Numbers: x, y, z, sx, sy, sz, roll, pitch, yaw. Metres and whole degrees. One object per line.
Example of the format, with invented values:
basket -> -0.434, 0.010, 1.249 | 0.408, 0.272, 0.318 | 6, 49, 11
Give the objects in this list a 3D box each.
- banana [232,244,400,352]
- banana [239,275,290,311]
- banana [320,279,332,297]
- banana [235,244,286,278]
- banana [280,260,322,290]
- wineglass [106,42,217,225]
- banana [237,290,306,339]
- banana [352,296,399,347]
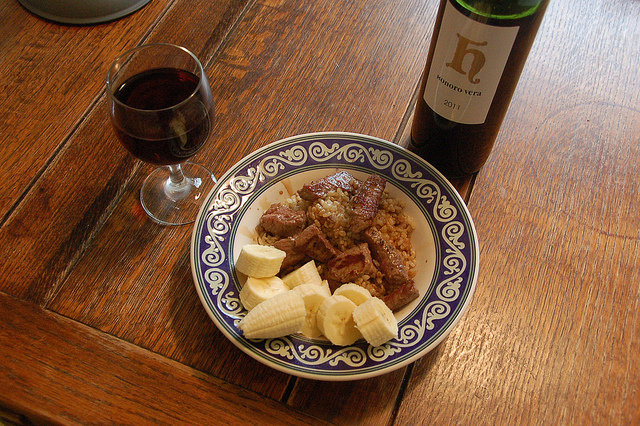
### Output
banana -> -0.012, 0.225, 1.346 | 0.357, 0.112, 0.250 | 24, 49, -5
banana -> -0.134, 0.205, 1.390 | 0.113, 0.119, 0.052 | 23, 107, 30
banana -> 0.016, 0.186, 1.413 | 0.008, 0.032, 0.035 | -22, 71, -19
banana -> -0.147, 0.122, 1.429 | 0.095, 0.141, 0.060 | 25, 102, 27
banana -> -0.041, 0.162, 1.417 | 0.069, 0.079, 0.022 | -42, 89, 19
wineglass -> -0.390, -0.202, 1.480 | 0.251, 0.321, 0.446 | -12, 82, -3
banana -> -0.108, 0.247, 1.311 | 0.143, 0.066, 0.093 | -25, 65, -14
banana -> 0.131, 0.267, 1.336 | 0.093, 0.025, 0.110 | 38, 45, -16
